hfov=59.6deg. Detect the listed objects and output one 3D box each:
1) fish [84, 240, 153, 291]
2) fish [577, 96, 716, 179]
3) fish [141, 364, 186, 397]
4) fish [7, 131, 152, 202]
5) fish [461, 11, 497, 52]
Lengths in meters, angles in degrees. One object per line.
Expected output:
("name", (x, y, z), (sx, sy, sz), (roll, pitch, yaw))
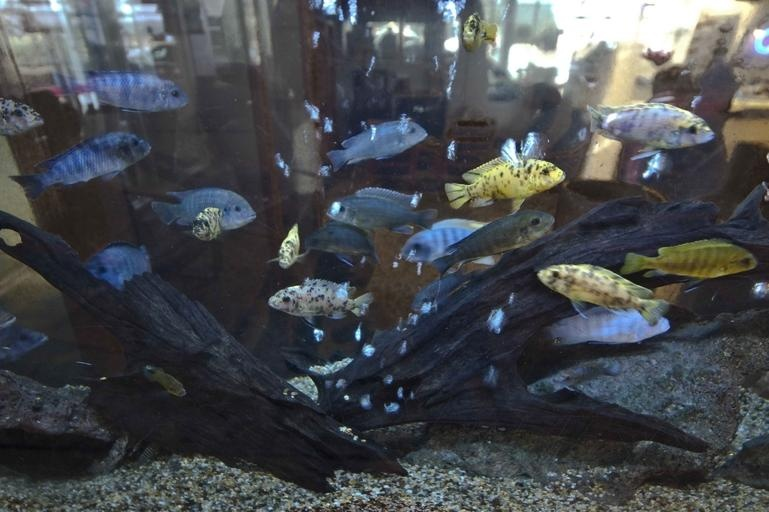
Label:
("fish", (-1.842, 0.042, 4.707), (0.298, 0.198, 0.435), (28, 39, 36))
("fish", (1.716, -0.783, 4.291), (0.959, 0.417, 0.294), (8, 59, 20))
("fish", (-1.458, 0.851, 4.553), (0.360, 0.093, 0.121), (25, 72, -3))
("fish", (-1.999, -0.582, 4.430), (0.869, 0.458, 0.153), (-2, 33, -8))
("fish", (0.604, -1.441, 4.285), (0.259, 0.230, 0.201), (-16, 33, -31))
